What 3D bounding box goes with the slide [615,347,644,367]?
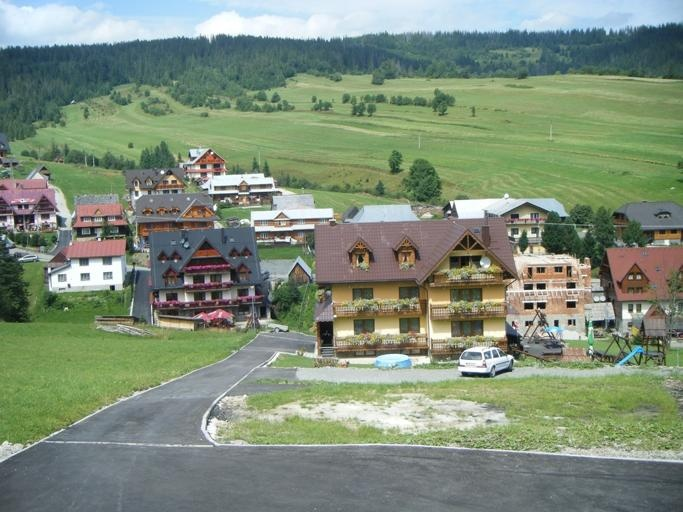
[{"bbox_3d":[27.820,9.749,81.200,0.940,2.176,4.717,-4,-16,41],"label":"slide"}]
